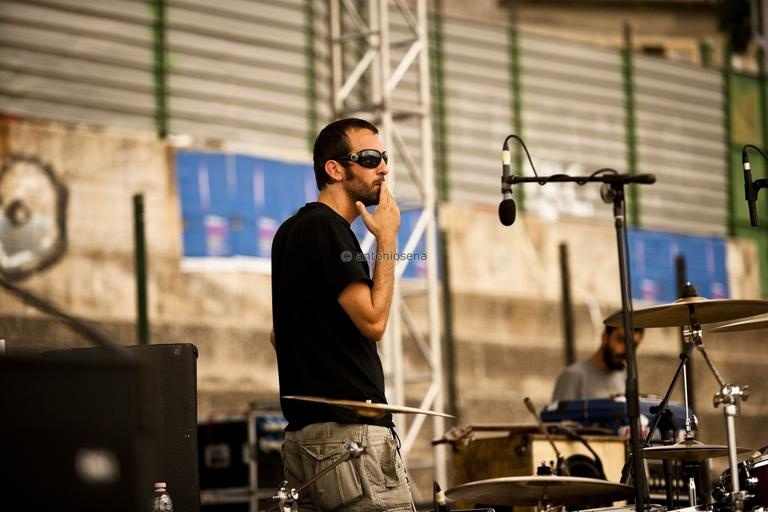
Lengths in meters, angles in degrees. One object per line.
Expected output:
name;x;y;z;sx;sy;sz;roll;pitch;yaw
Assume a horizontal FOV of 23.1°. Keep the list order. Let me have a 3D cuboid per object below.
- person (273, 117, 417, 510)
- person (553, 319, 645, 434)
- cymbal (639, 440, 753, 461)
person;-0.299;0.438;13.559;1.158;2.430;1.080;1;-2;-8
person;1.870;1.008;16.263;0.733;0.911;0.714;-9;1;10
cymbal;2.245;1.450;13.857;0.624;0.180;0.512;5;-7;-27
